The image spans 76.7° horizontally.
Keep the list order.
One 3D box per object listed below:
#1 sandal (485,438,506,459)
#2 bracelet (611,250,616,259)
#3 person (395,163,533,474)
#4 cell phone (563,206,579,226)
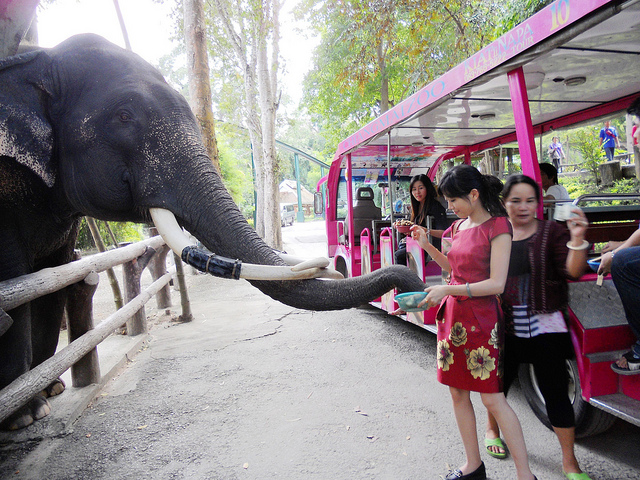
[{"bbox_3d":[1.446,1.725,3.358,0.145,0.117,0.126,-4,3,13],"label":"sandal"},{"bbox_3d":[2.071,0.106,2.877,0.014,0.054,0.039,15,5,13],"label":"bracelet"},{"bbox_3d":[1.224,0.623,3.166,0.638,2.381,1.419,-3,3,27],"label":"person"},{"bbox_3d":[1.644,-0.165,2.655,0.094,0.111,0.054,-4,3,6],"label":"cell phone"}]
